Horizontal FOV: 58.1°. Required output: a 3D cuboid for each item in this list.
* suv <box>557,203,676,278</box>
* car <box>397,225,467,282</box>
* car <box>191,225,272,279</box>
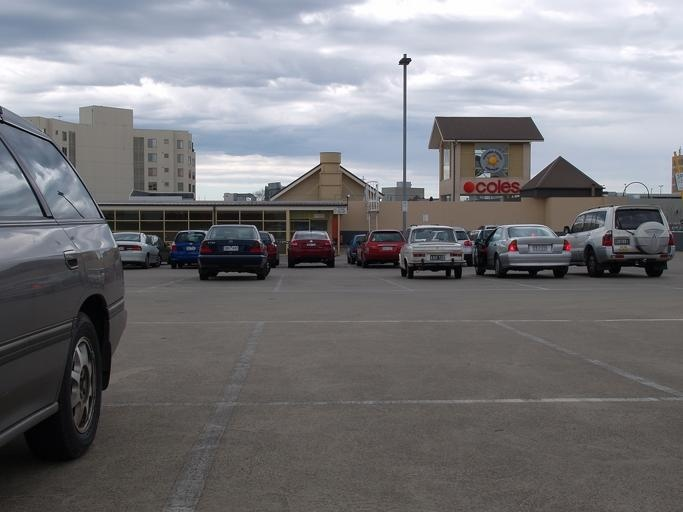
[{"bbox_3d":[9.920,-0.632,23.150,2.092,2.106,4.733,0,3,-2],"label":"suv"},{"bbox_3d":[3.272,-0.224,22.281,1.300,1.231,2.734,-1,5,-2],"label":"car"},{"bbox_3d":[-3.784,-0.097,21.465,2.247,1.866,0.922,0,2,-8],"label":"car"}]
